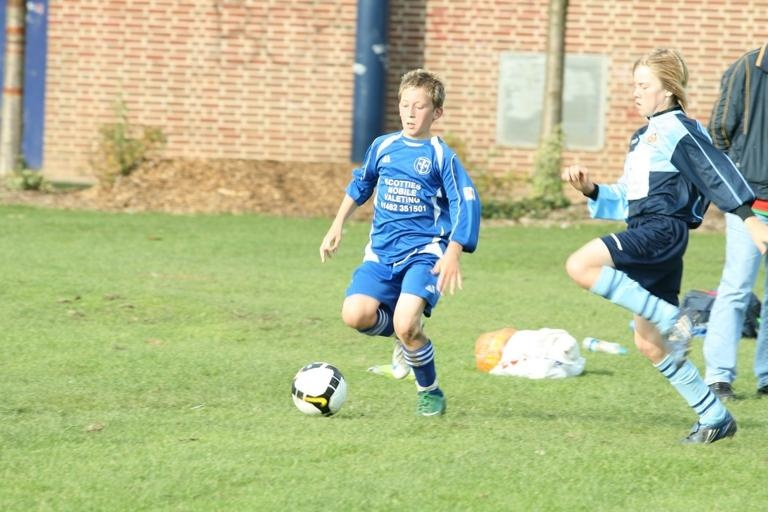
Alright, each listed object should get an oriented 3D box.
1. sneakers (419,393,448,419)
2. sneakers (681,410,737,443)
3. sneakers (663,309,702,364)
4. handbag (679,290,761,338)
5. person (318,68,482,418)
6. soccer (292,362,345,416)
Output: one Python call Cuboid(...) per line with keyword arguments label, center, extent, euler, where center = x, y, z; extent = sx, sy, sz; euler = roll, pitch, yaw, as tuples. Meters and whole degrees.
Cuboid(label="sneakers", center=(0.387, 1.172, 9.372), extent=(0.220, 0.182, 0.137), euler=(1, 12, 0))
Cuboid(label="sneakers", center=(2.542, 1.347, 9.088), extent=(0.487, 0.191, 0.165), euler=(-17, 2, -11))
Cuboid(label="sneakers", center=(2.272, 0.606, 8.932), extent=(0.244, 0.362, 0.152), euler=(4, 14, -15))
Cuboid(label="handbag", center=(3.280, 0.535, 11.389), extent=(0.700, 0.234, 0.485), euler=(1, 34, 7))
Cuboid(label="person", center=(0.117, -0.145, 9.574), extent=(1.321, 2.675, 0.914), euler=(4, 13, 18))
Cuboid(label="soccer", center=(-0.520, 1.063, 9.361), extent=(0.427, 0.364, 0.260), euler=(0, 12, -5))
